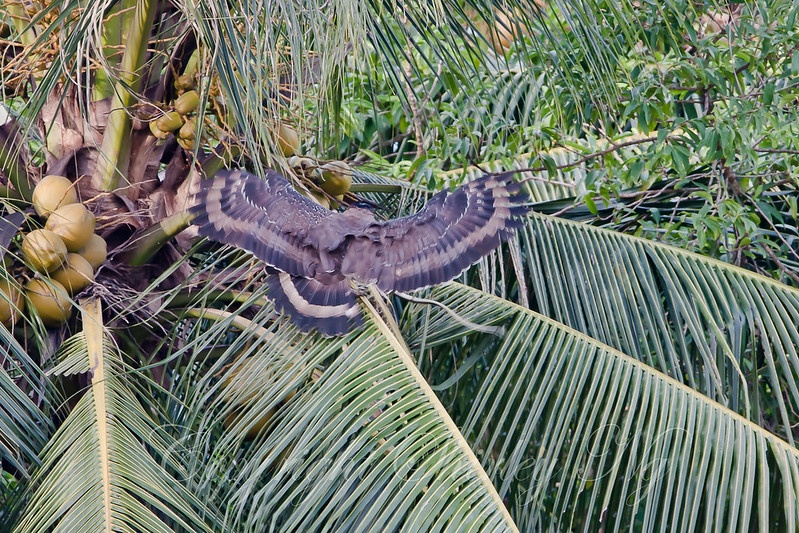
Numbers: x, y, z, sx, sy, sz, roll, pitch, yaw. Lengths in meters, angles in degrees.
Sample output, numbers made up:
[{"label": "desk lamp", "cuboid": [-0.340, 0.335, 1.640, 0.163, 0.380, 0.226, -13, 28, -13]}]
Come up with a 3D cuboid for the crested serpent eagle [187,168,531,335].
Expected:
[{"label": "crested serpent eagle", "cuboid": [-0.214, -0.131, 7.227, 1.624, 0.716, 0.607, -7, 20, -7]}]
